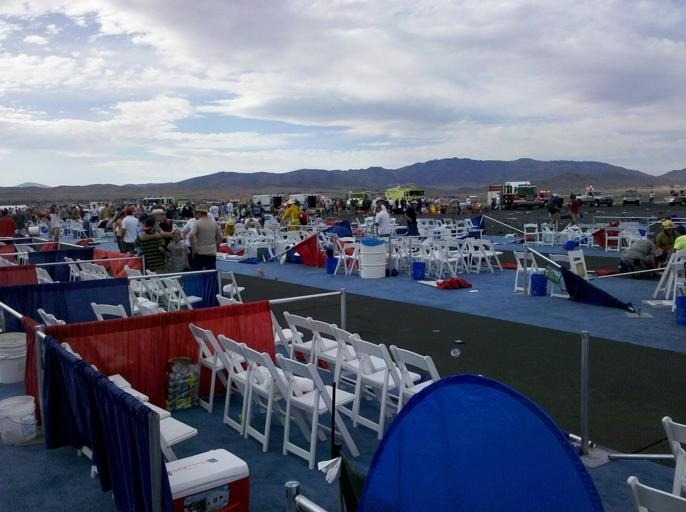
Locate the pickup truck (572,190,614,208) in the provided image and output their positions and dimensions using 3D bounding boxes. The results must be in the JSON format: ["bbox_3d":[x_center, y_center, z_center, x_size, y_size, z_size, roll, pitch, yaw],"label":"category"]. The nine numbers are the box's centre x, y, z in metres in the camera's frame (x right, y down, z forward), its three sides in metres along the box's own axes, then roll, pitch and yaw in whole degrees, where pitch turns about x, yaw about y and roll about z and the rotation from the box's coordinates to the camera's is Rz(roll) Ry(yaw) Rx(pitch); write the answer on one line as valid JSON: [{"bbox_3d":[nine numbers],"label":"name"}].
[{"bbox_3d":[30.587,-6.878,59.659,3.169,1.672,4.812,4,9,34],"label":"pickup truck"}]

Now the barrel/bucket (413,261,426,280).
[{"bbox_3d":[2.294,0.451,15.080,0.499,0.527,0.486,-1,5,0],"label":"barrel/bucket"}]
